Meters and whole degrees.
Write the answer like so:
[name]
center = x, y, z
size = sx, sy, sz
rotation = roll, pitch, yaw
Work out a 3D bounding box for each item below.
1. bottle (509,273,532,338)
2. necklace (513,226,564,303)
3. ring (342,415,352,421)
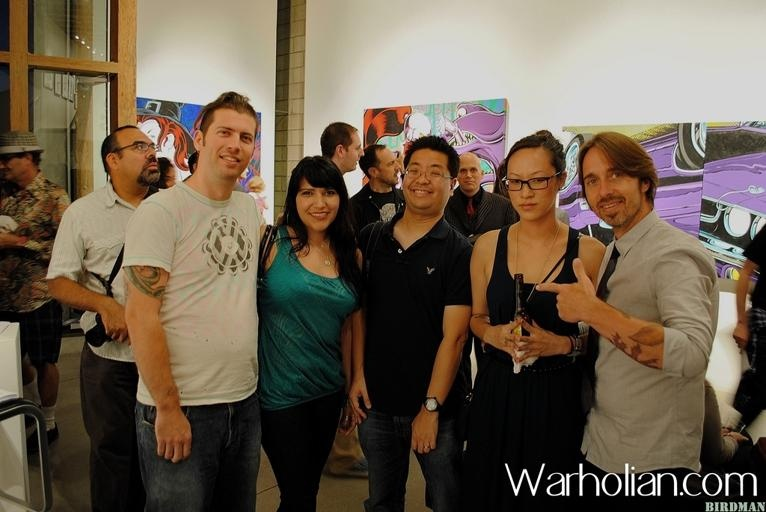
[bottle]
center = 0.688, 0.219, 2.753
size = 0.081, 0.292, 0.179
rotation = 1, 5, 13
[necklace]
center = 0.768, 0.038, 2.851
size = 0.148, 0.488, 0.035
rotation = 12, -11, 14
[ring]
center = -0.236, 0.941, 3.236
size = 0.044, 0.044, 0.016
rotation = 1, 5, 17
